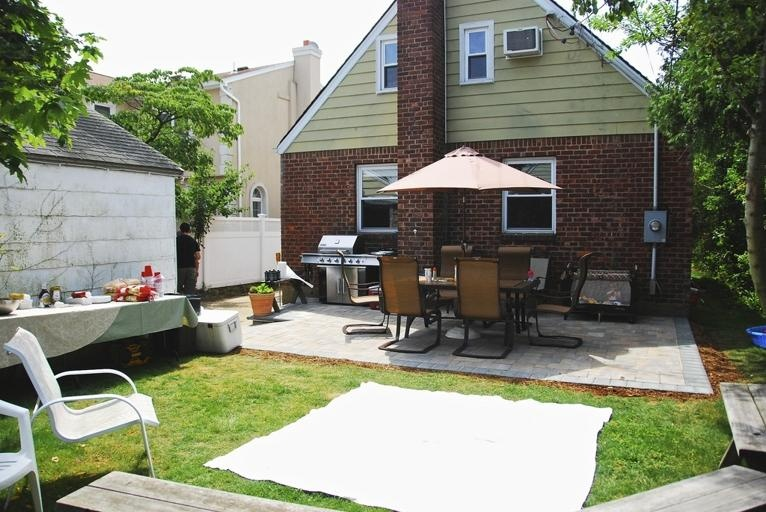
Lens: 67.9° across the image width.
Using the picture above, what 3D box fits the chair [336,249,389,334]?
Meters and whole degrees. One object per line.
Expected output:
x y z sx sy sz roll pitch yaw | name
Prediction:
-0.299 0.740 10.520 1.036 1.441 0.941 -2 -2 18 | chair

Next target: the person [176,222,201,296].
-4.306 0.085 12.510 0.476 1.616 0.918 -5 13 -16 | person

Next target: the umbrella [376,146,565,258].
2.005 -1.108 11.834 2.182 1.638 2.347 1 9 19 | umbrella

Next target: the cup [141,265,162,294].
-3.507 0.361 8.681 0.367 0.407 0.269 5 14 24 | cup

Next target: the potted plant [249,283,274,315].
-2.512 0.921 11.792 0.512 0.605 0.538 -2 0 -32 | potted plant

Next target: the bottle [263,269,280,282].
-2.425 0.430 12.561 0.284 0.258 0.294 -1 1 31 | bottle

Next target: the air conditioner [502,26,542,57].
3.000 -4.598 12.142 0.709 0.577 0.304 0 1 28 | air conditioner

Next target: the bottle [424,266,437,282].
0.839 0.334 9.978 0.235 0.359 0.232 -1 0 0 | bottle

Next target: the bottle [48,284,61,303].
-4.612 0.544 7.984 0.199 0.296 0.188 -3 -7 0 | bottle

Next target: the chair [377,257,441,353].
0.446 0.774 9.526 0.879 1.546 1.034 1 2 31 | chair

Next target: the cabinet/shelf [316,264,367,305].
-0.897 0.659 12.968 0.934 0.843 0.405 0 0 28 | cabinet/shelf

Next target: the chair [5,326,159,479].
-3.122 1.363 6.157 1.805 1.745 1.221 2 9 -18 | chair

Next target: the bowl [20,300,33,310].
-4.689 0.644 7.463 0.099 0.092 0.140 -2 -2 22 | bowl
